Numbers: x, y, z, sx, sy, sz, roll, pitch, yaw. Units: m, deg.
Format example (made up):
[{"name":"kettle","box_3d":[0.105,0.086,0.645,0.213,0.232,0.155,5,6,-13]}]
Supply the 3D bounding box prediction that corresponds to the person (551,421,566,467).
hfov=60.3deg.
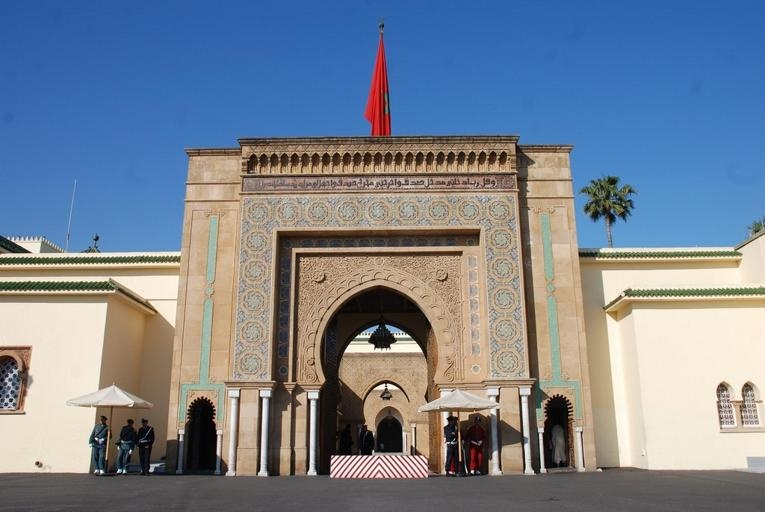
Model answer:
[{"name":"person","box_3d":[5.016,5.389,18.822,0.317,1.152,0.596,-1,-17,1]}]

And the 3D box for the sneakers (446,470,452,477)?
[{"name":"sneakers","box_3d":[1.659,5.476,16.592,0.076,0.165,0.175,3,-34,2]}]

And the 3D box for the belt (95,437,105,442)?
[{"name":"belt","box_3d":[-7.110,4.572,16.477,0.116,0.048,0.164,1,-2,2]}]

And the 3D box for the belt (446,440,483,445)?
[{"name":"belt","box_3d":[2.114,4.798,17.016,0.878,0.125,0.127,4,-31,-9]}]

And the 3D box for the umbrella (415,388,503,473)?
[{"name":"umbrella","box_3d":[2.039,4.247,16.792,1.696,1.803,1.471,-11,-20,29]}]

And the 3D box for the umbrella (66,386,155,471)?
[{"name":"umbrella","box_3d":[-7.203,4.302,16.857,2.069,2.030,1.863,-2,-24,2]}]

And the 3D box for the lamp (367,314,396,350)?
[{"name":"lamp","box_3d":[-0.053,2.330,21.328,0.903,1.488,0.925,1,13,11]}]

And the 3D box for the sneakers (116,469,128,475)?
[{"name":"sneakers","box_3d":[-6.641,5.438,16.627,0.345,0.142,0.118,-1,-7,26]}]

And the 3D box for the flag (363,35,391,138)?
[{"name":"flag","box_3d":[-0.163,-5.809,22.104,0.657,3.930,0.380,4,-18,-13]}]
